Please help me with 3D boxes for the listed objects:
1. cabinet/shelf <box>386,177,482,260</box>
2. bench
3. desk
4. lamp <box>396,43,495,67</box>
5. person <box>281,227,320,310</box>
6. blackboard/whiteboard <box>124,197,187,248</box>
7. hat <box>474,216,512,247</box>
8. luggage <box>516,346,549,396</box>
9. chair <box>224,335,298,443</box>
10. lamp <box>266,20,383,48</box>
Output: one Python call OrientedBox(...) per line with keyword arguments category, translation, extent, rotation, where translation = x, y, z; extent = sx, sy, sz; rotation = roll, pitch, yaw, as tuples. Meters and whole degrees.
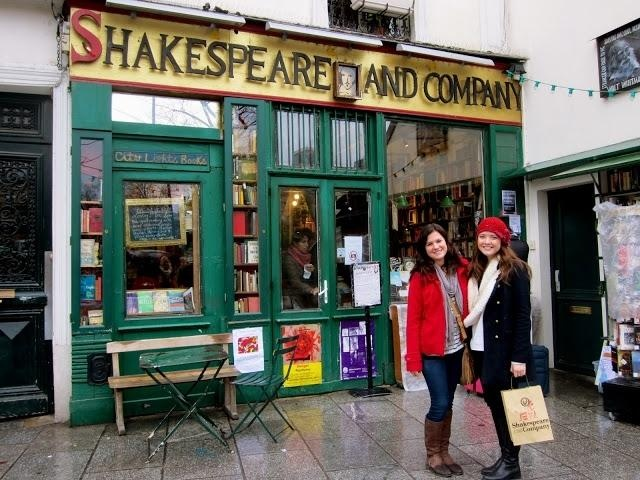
OrientedBox(category="cabinet/shelf", translation=(1.774, -0.227, 8.631), extent=(1.472, 1.416, 0.522), rotation=(3, -26, -11))
OrientedBox(category="bench", translation=(-1.691, 1.640, 6.358), extent=(1.468, 1.025, 0.661), rotation=(1, -8, -27))
OrientedBox(category="desk", translation=(-1.513, 1.708, 6.203), extent=(0.944, 1.032, 1.544), rotation=(-2, 6, -14))
OrientedBox(category="lamp", translation=(1.890, -2.773, 8.083), extent=(1.673, 0.252, 0.295), rotation=(-3, 6, -23))
OrientedBox(category="person", translation=(-0.270, 0.399, 7.420), extent=(0.479, 1.052, 0.196), rotation=(-2, 5, -9))
OrientedBox(category="blackboard/whiteboard", translation=(-2.123, -0.214, 6.866), extent=(0.568, 0.543, 0.048), rotation=(-2, 0, -17))
OrientedBox(category="hat", translation=(1.669, -0.075, 5.150), extent=(0.227, 0.251, 0.302), rotation=(3, -6, 38))
OrientedBox(category="luggage", translation=(2.803, 1.678, 7.124), extent=(0.405, 0.605, 0.327), rotation=(-3, -11, 24))
OrientedBox(category="chair", translation=(-0.671, 1.653, 6.570), extent=(0.954, 1.608, 0.940), rotation=(2, -2, 9))
OrientedBox(category="lamp", translation=(0.078, -2.830, 7.440), extent=(1.696, 0.228, 0.254), rotation=(-3, 6, -17))
